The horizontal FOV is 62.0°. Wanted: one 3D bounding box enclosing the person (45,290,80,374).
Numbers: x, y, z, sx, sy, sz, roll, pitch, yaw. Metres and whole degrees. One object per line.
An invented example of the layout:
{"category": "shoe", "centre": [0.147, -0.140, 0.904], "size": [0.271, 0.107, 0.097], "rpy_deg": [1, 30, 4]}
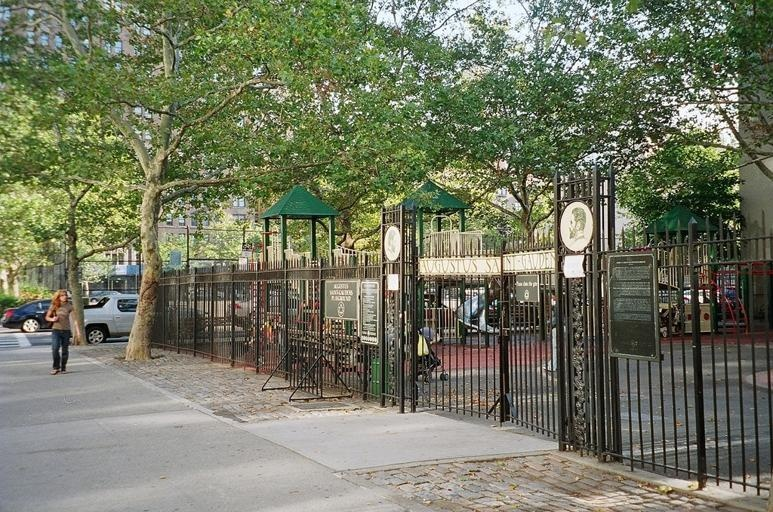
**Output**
{"category": "person", "centre": [-9.893, 2.258, 19.566], "size": [0.776, 2.459, 0.714], "rpy_deg": [3, -8, -43]}

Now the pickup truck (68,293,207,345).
{"category": "pickup truck", "centre": [-12.920, 3.035, 31.240], "size": [5.089, 2.115, 2.047], "rpy_deg": [0, -2, -6]}

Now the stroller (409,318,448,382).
{"category": "stroller", "centre": [0.990, 2.615, 16.972], "size": [1.347, 1.982, 0.949], "rpy_deg": [2, -1, 17]}
